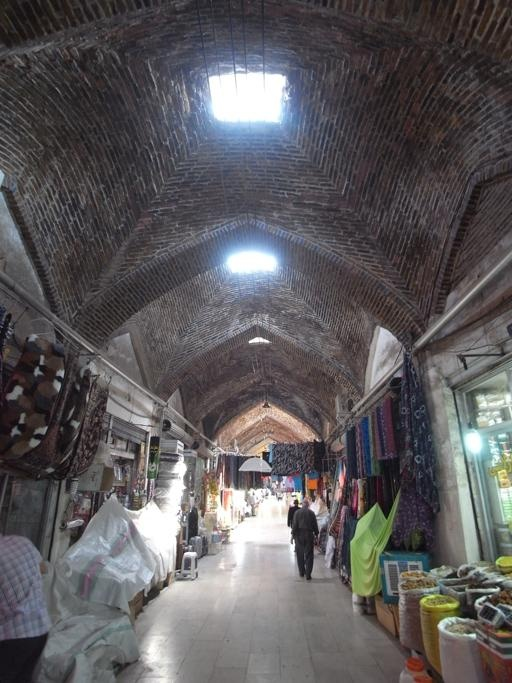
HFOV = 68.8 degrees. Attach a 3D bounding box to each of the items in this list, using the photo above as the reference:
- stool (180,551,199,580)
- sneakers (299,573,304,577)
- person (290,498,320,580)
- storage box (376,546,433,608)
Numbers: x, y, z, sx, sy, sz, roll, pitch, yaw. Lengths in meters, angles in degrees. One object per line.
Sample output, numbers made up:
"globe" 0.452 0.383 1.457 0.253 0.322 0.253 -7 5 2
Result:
"stool" -1.271 4.256 7.098 0.348 0.429 0.349 1 -21 1
"sneakers" 0.849 4.451 7.108 0.079 0.050 0.183 2 -23 1
"person" 0.948 3.865 7.363 0.479 1.445 0.430 0 -4 7
"storage box" 1.596 2.571 4.272 0.572 0.641 0.450 -2 -17 8
